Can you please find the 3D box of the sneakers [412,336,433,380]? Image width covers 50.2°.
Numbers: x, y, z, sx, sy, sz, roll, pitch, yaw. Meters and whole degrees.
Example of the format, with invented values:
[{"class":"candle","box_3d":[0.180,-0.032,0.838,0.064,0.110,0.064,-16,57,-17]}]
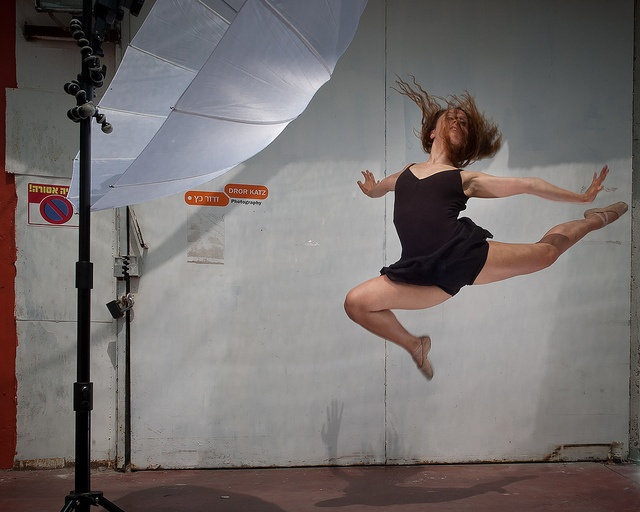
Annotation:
[{"class":"sneakers","box_3d":[0.700,0.693,4.622,0.127,0.320,0.113,-19,20,-27]}]
